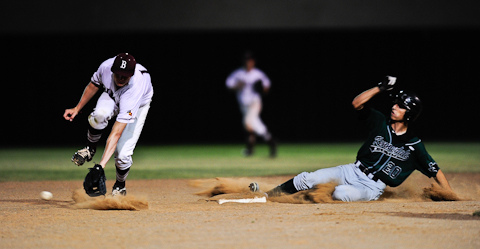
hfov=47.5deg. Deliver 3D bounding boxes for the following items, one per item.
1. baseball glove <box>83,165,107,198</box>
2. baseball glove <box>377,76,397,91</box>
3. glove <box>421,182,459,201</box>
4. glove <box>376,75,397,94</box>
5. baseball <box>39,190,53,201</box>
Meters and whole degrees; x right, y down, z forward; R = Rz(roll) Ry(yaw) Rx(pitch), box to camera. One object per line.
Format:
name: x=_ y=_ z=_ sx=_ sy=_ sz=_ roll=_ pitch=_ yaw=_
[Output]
baseball glove: x=-3.368 y=1.308 z=12.657 sx=0.587 sy=0.660 sz=0.226 roll=-1 pitch=1 yaw=-5
baseball glove: x=3.558 y=-0.982 z=13.218 sx=0.420 sy=0.338 sz=0.312 roll=0 pitch=11 yaw=0
glove: x=4.992 y=1.697 z=13.554 sx=1.014 sy=0.405 sz=0.690 roll=2 pitch=7 yaw=5
glove: x=3.623 y=-0.957 z=13.285 sx=0.519 sy=0.377 sz=0.186 roll=-31 pitch=-17 yaw=6
baseball: x=-4.790 y=1.728 z=13.421 sx=0.262 sy=0.122 sz=0.247 roll=19 pitch=11 yaw=-16
